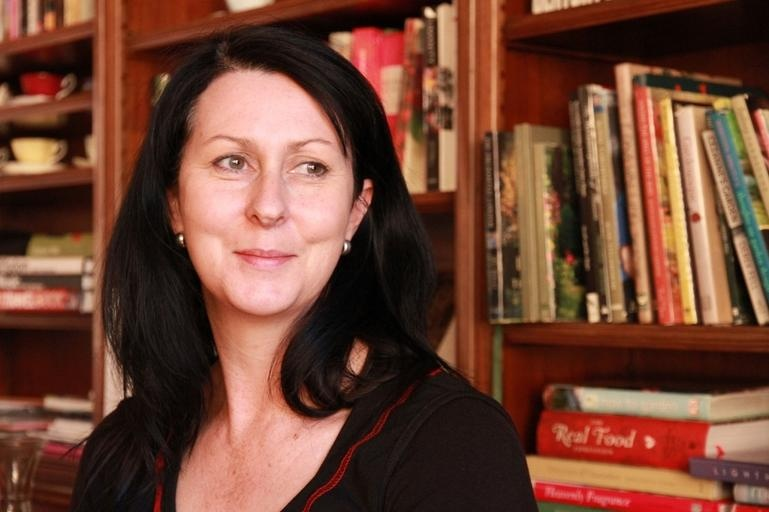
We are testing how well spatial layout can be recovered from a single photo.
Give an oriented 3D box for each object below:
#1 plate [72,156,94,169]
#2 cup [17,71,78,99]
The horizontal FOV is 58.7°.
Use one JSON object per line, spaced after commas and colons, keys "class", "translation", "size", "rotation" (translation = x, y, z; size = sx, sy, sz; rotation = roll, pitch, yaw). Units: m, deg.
{"class": "plate", "translation": [-1.068, -0.334, 2.426], "size": [0.076, 0.023, 0.072], "rotation": [6, 9, -3]}
{"class": "cup", "translation": [-1.204, -0.597, 2.470], "size": [0.145, 0.060, 0.146], "rotation": [3, 11, -1]}
